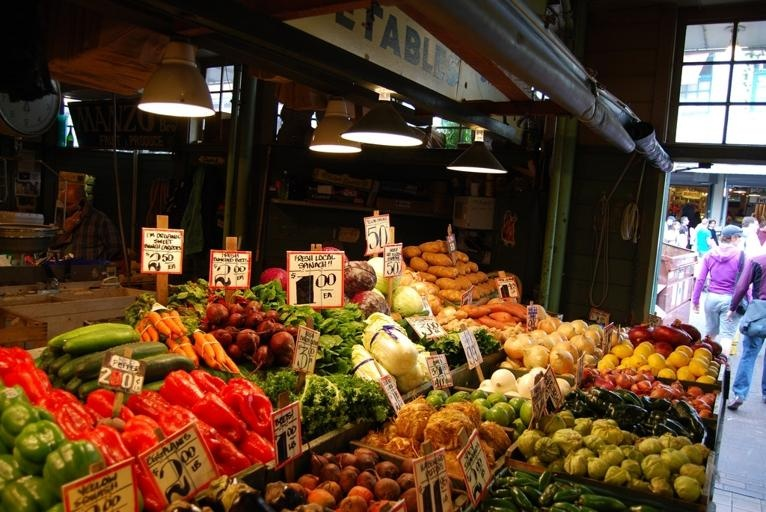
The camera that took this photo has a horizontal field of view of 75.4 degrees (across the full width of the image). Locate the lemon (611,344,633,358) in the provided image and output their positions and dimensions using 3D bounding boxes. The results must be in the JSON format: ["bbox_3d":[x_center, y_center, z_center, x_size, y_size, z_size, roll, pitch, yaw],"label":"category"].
[{"bbox_3d":[2.226,0.883,4.604,0.149,0.113,0.111,5,-7,-4],"label":"lemon"}]

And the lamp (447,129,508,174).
[{"bbox_3d":[0.936,-1.030,4.757,0.452,0.426,0.640,4,6,23],"label":"lamp"}]

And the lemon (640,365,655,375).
[{"bbox_3d":[2.315,1.001,4.352,0.096,0.099,0.130,-5,-2,-1],"label":"lemon"}]

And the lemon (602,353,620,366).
[{"bbox_3d":[2.046,0.935,4.432,0.124,0.121,0.118,3,5,6],"label":"lemon"}]

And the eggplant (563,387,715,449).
[{"bbox_3d":[1.660,1.013,3.194,0.839,0.248,0.448,15,-4,-3],"label":"eggplant"}]

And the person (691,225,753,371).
[{"bbox_3d":[5.303,0.616,7.834,0.733,2.136,0.755,3,15,32],"label":"person"}]

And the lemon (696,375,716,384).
[{"bbox_3d":[2.728,1.045,4.181,0.085,0.101,0.086,-1,-7,15],"label":"lemon"}]

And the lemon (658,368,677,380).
[{"bbox_3d":[2.456,1.014,4.285,0.101,0.100,0.093,0,-1,9],"label":"lemon"}]

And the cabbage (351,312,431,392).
[{"bbox_3d":[0.064,0.655,3.391,0.489,0.466,0.356,2,26,2],"label":"cabbage"}]

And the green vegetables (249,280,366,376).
[{"bbox_3d":[-0.489,0.517,3.407,0.607,0.634,0.549,-22,-35,30],"label":"green vegetables"}]

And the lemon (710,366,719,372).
[{"bbox_3d":[2.911,0.997,4.360,0.074,0.032,0.099,1,2,7],"label":"lemon"}]

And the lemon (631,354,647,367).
[{"bbox_3d":[2.311,0.939,4.492,0.106,0.095,0.115,23,30,1],"label":"lemon"}]

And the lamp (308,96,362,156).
[{"bbox_3d":[-0.485,-1.086,4.416,0.390,0.566,0.537,24,31,29],"label":"lamp"}]

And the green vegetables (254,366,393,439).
[{"bbox_3d":[-0.261,0.805,2.771,0.486,0.230,0.474,0,7,-43],"label":"green vegetables"}]

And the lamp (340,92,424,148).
[{"bbox_3d":[0.005,-0.938,3.427,0.519,0.269,0.521,3,5,6],"label":"lamp"}]

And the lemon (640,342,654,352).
[{"bbox_3d":[2.442,0.843,4.590,0.096,0.096,0.116,7,8,21],"label":"lemon"}]

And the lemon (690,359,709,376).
[{"bbox_3d":[2.715,0.965,4.273,0.110,0.113,0.143,31,1,-42],"label":"lemon"}]

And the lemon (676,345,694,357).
[{"bbox_3d":[2.740,0.843,4.494,0.120,0.120,0.116,1,1,36],"label":"lemon"}]

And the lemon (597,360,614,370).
[{"bbox_3d":[1.968,0.955,4.355,0.101,0.104,0.123,4,-5,-11],"label":"lemon"}]

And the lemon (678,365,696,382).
[{"bbox_3d":[2.617,0.988,4.268,0.111,0.103,0.130,18,26,20],"label":"lemon"}]

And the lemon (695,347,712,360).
[{"bbox_3d":[2.913,0.885,4.494,0.124,0.122,0.116,-2,3,4],"label":"lemon"}]
